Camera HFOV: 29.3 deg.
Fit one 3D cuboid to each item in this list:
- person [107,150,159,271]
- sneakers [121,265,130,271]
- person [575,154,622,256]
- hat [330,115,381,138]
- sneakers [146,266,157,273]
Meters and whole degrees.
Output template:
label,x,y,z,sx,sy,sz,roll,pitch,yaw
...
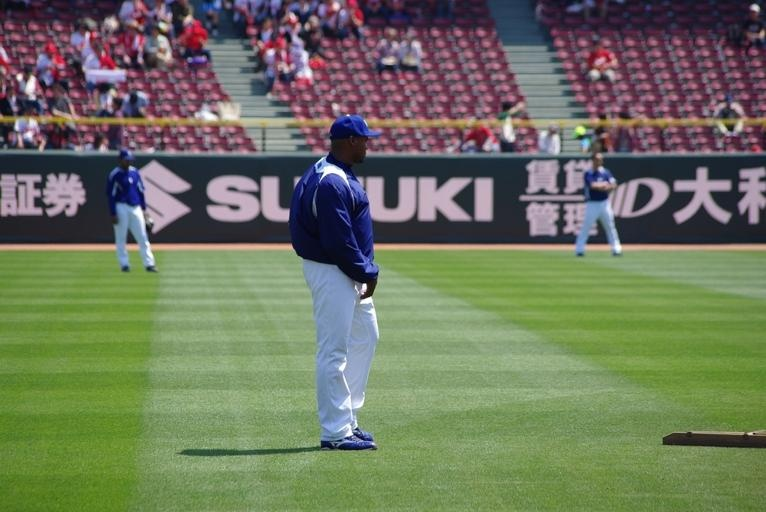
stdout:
label,x,y,z,sx,sy,sz,roll,pitch,yaw
person,-5.370,-0.950,30.951,0.875,2.639,0.782,-5,9,-8
sneakers,-5.540,0.252,31.285,0.185,0.107,0.212,2,7,-12
person,4.963,-1.193,33.915,1.007,2.436,0.952,-2,9,7
hat,-0.459,-1.973,22.474,0.655,0.290,0.413,2,10,-7
sneakers,-4.959,0.276,31.196,0.205,0.119,0.118,-4,11,-16
